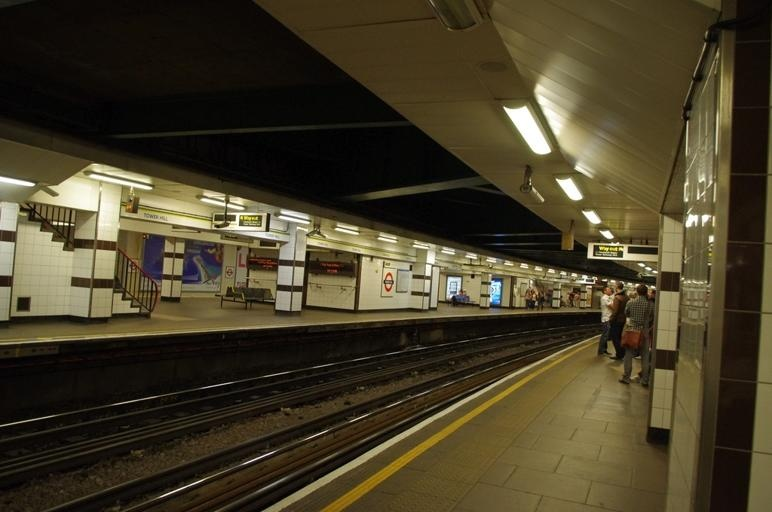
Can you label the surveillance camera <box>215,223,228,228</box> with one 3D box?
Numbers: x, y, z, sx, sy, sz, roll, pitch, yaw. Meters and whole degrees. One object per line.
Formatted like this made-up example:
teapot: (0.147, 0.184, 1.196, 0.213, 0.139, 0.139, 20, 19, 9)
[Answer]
surveillance camera: (-4.968, -0.877, 15.742, 0.272, 0.090, 0.211, -1, 1, 29)
